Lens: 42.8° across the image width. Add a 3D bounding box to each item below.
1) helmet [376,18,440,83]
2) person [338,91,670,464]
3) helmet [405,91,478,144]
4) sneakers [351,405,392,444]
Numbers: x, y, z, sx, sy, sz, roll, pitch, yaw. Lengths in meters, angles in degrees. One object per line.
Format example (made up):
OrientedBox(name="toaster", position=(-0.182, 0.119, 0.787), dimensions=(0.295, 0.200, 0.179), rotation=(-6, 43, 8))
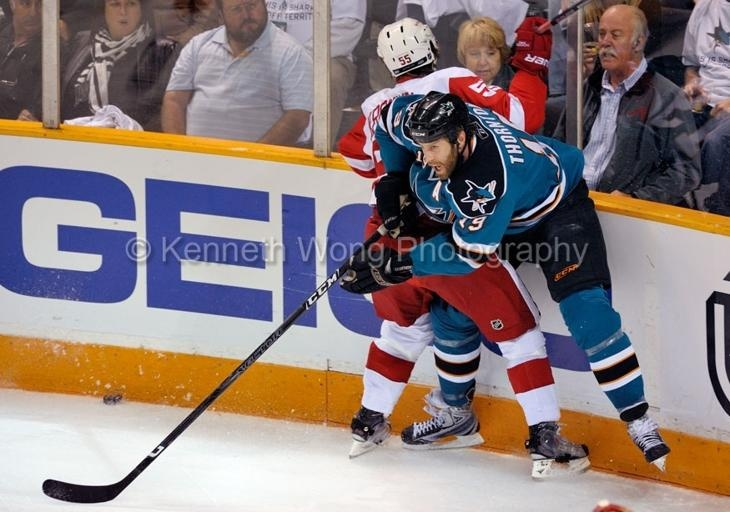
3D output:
OrientedBox(name="helmet", position=(0.239, -1.076, 4.793), dimensions=(0.249, 0.287, 0.306), rotation=(-10, 25, 27))
OrientedBox(name="person", position=(0.725, 0.074, 4.522), dimensions=(1.408, 1.691, 0.766), rotation=(1, 15, 1))
OrientedBox(name="helmet", position=(0.331, -0.599, 4.338), dimensions=(0.257, 0.250, 0.230), rotation=(-31, 18, -23))
OrientedBox(name="sneakers", position=(0.019, 0.889, 4.868), dimensions=(0.199, 0.195, 0.159), rotation=(-6, 32, -9))
